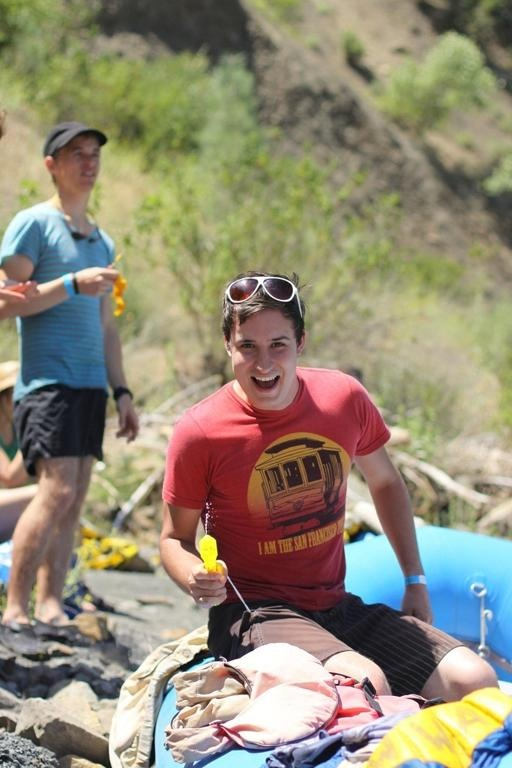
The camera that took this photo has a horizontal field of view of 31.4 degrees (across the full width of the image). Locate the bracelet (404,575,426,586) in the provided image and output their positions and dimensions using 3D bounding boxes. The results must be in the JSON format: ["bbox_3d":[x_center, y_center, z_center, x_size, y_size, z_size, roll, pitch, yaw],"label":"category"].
[{"bbox_3d":[0.466,0.571,2.669,0.042,0.017,0.039,-3,2,-20],"label":"bracelet"}]

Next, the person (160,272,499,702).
[{"bbox_3d":[0.169,0.252,2.427,0.801,1.108,0.621,2,2,-16],"label":"person"}]

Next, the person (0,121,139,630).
[{"bbox_3d":[-0.689,-0.063,3.298,0.405,1.822,0.618,3,2,7],"label":"person"}]
